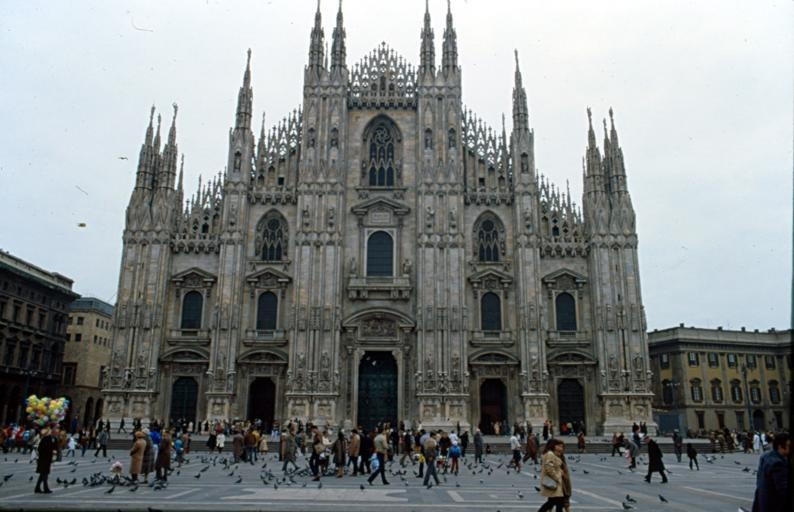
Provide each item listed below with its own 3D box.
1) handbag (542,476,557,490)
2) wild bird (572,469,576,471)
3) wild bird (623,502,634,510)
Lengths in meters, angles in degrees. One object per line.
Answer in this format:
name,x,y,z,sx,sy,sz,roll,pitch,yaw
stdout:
handbag,4.557,6.780,18.991,0.413,0.320,0.152,-8,7,44
wild bird,8.645,10.451,31.099,0.182,0.089,0.244,10,-19,-18
wild bird,8.040,8.676,22.091,0.124,0.223,0.368,20,-45,-22
